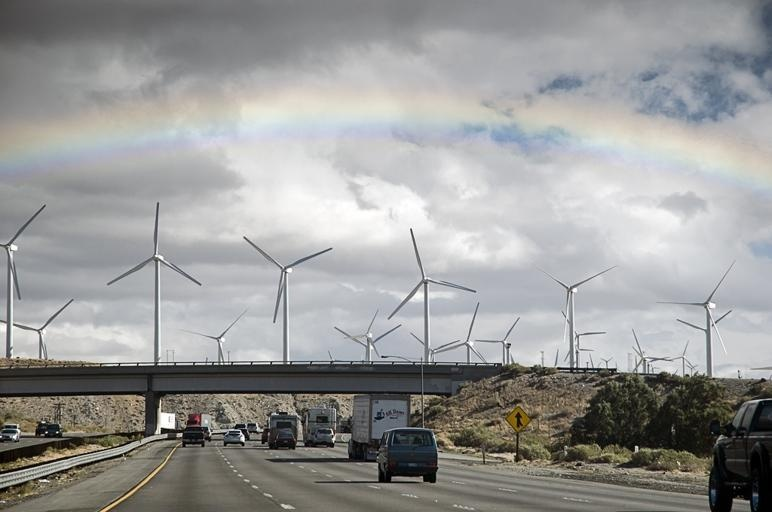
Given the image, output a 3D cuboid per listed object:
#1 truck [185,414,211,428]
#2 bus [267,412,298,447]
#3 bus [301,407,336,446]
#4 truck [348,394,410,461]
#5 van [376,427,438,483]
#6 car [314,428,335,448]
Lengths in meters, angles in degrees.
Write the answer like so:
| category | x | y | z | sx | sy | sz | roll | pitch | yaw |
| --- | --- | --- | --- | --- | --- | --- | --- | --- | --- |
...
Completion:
| category | x | y | z | sx | sy | sz | roll | pitch | yaw |
| --- | --- | --- | --- | --- | --- | --- | --- | --- | --- |
| truck | -28.139 | 24.811 | 158.713 | 3.594 | 2.464 | 2.230 | -6 | -7 | 25 |
| bus | -11.217 | 18.680 | 114.597 | 2.545 | 2.810 | 4.428 | 2 | -7 | -6 |
| bus | -7.133 | 18.218 | 119.719 | 3.710 | 3.928 | 7.233 | 0 | 8 | -6 |
| truck | -0.523 | 14.223 | 89.938 | 3.253 | 4.238 | 7.585 | 2 | -13 | -9 |
| van | 1.144 | 12.768 | 69.460 | 2.581 | 2.241 | 4.392 | 1 | -6 | -6 |
| car | -6.801 | 19.653 | 115.839 | 1.372 | 1.490 | 2.976 | 1 | -1 | -3 |
